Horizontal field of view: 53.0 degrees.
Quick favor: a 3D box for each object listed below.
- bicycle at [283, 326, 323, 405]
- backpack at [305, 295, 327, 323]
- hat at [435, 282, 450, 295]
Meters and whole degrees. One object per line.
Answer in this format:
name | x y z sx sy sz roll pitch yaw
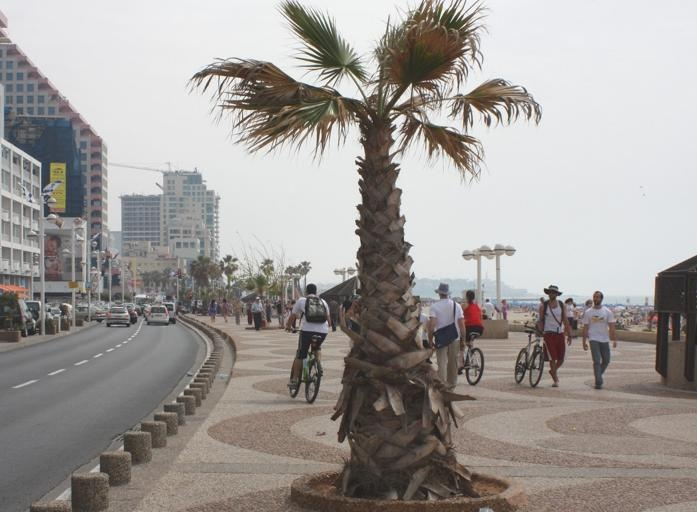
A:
bicycle | -0.790 2.169 13.493 0.439 1.268 0.985 4 -5 -24
backpack | -0.642 1.040 13.344 0.347 0.516 0.276 5 -29 -19
hat | 1.806 0.635 13.370 0.203 0.132 0.226 4 -4 -13
